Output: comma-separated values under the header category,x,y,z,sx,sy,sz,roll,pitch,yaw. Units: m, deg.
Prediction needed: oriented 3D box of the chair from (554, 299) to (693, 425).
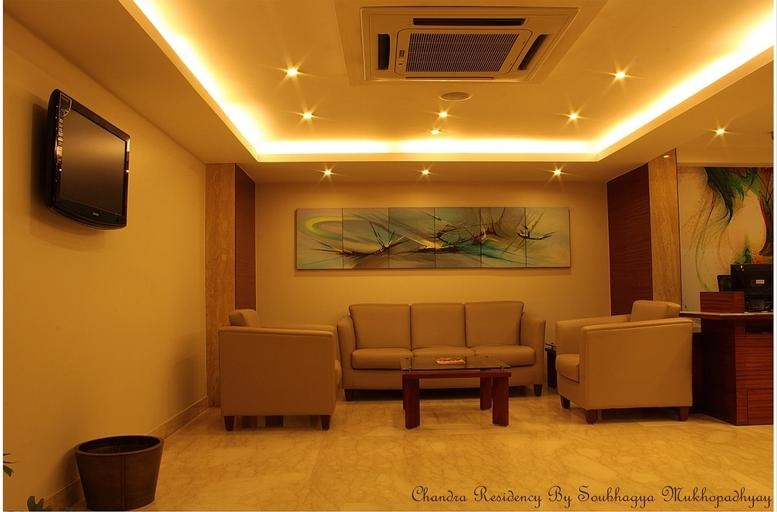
category,x,y,z,sx,sy,sz,roll,pitch,yaw
chair,2.584,1.196,6.233,1.388,1.412,1.452,0,-8,2

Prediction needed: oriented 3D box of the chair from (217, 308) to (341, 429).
category,x,y,z,sx,sy,sz,roll,pitch,yaw
chair,-1.197,1.101,5.505,1.177,1.036,1.245,0,-5,-5

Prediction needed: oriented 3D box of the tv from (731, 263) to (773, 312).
category,x,y,z,sx,sy,sz,roll,pitch,yaw
tv,4.091,0.372,5.787,0.541,0.506,0.190,1,-3,9

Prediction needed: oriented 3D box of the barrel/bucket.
category,x,y,z,sx,sy,sz,roll,pitch,yaw
barrel/bucket,-2.075,1.693,3.980,0.592,0.389,0.575,-2,-9,0

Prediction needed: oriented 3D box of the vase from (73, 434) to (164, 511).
category,x,y,z,sx,sy,sz,roll,pitch,yaw
vase,-2.122,1.714,4.100,0.605,0.476,0.424,0,3,14
